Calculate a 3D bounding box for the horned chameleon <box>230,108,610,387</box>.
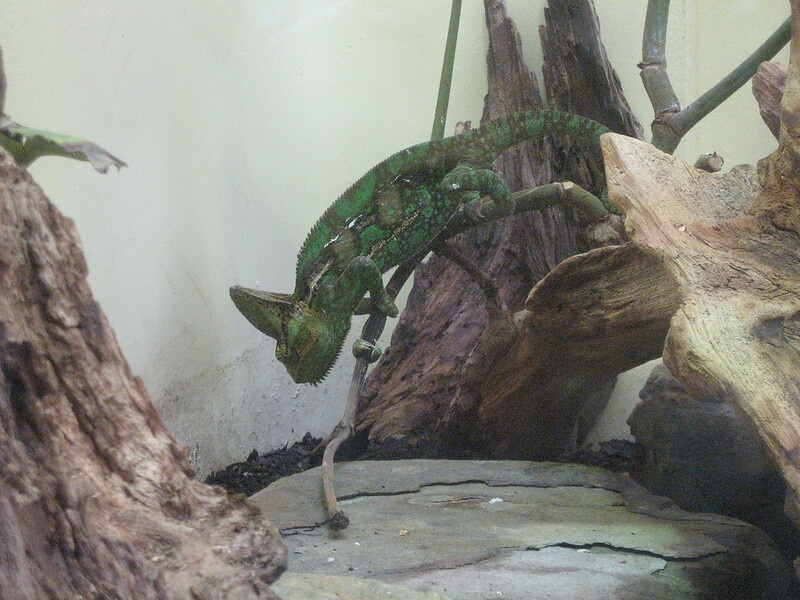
[{"bbox_3d":[0.142,-0.337,4.380,1.693,0.623,0.534,-36,3,-4],"label":"horned chameleon"}]
